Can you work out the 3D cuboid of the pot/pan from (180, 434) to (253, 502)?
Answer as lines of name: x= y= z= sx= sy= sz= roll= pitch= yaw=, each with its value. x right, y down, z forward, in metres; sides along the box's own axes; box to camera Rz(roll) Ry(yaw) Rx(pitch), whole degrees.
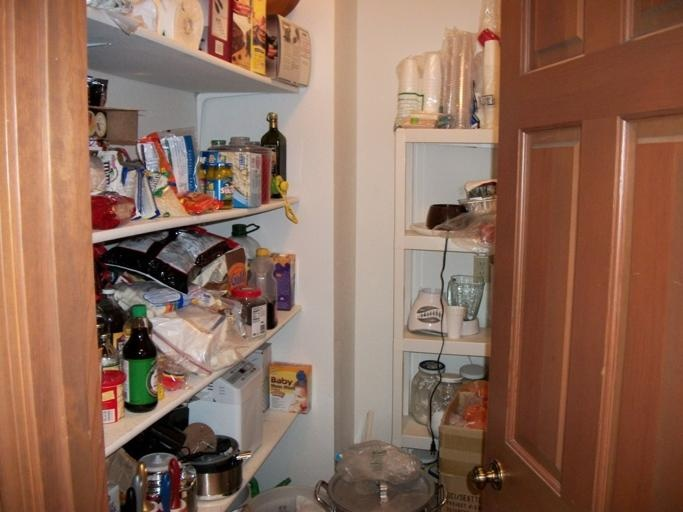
pot/pan: x=-0.341 y=0.588 z=1.576 sx=0.109 sy=0.137 sz=0.178 roll=3 pitch=10 yaw=22

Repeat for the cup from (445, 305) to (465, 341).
cup: x=0.434 y=0.240 z=2.126 sx=0.113 sy=0.123 sz=0.058 roll=-5 pitch=10 yaw=-30

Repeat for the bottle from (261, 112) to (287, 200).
bottle: x=-0.243 y=-0.363 z=2.018 sx=0.095 sy=0.302 sz=0.191 roll=-1 pitch=9 yaw=-5

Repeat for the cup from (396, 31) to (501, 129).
cup: x=0.386 y=-0.662 z=2.118 sx=0.362 sy=0.370 sz=0.258 roll=1 pitch=9 yaw=8

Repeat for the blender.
blender: x=0.421 y=0.201 z=2.232 sx=0.314 sy=0.205 sz=0.194 roll=-4 pitch=5 yaw=-41

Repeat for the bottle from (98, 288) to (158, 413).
bottle: x=-0.485 y=0.220 z=1.309 sx=0.110 sy=0.228 sz=0.181 roll=-4 pitch=10 yaw=-24

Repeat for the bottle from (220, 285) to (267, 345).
bottle: x=-0.281 y=0.173 z=1.710 sx=0.146 sy=0.158 sz=0.143 roll=-2 pitch=5 yaw=-25

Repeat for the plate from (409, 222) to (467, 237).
plate: x=0.314 y=-0.100 z=2.142 sx=0.112 sy=0.026 sz=0.262 roll=-3 pitch=9 yaw=-14
